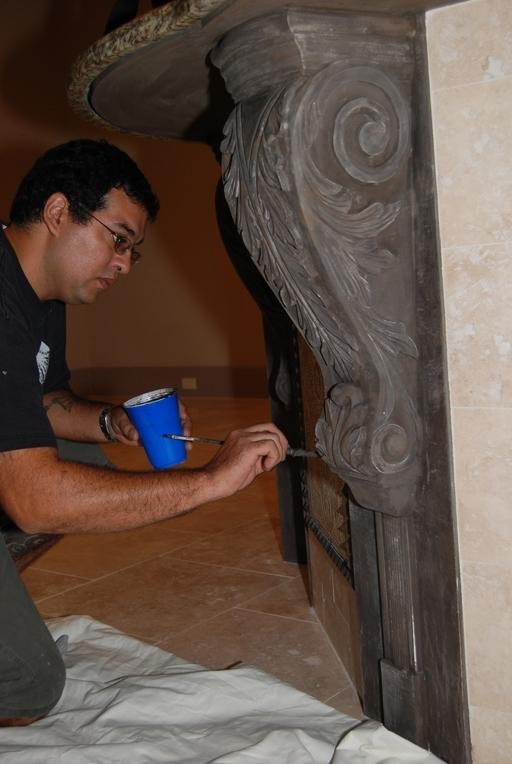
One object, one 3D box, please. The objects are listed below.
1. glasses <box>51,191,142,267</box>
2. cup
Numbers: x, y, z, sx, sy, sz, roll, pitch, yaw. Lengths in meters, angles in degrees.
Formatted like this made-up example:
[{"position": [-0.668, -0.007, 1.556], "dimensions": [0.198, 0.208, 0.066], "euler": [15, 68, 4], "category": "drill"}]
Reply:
[{"position": [-0.359, -0.330, 1.542], "dimensions": [0.043, 0.140, 0.135], "euler": [-46, -8, 8], "category": "glasses"}, {"position": [-0.200, 0.105, 1.445], "dimensions": [0.109, 0.179, 0.131], "euler": [-13, 16, -7], "category": "cup"}]
